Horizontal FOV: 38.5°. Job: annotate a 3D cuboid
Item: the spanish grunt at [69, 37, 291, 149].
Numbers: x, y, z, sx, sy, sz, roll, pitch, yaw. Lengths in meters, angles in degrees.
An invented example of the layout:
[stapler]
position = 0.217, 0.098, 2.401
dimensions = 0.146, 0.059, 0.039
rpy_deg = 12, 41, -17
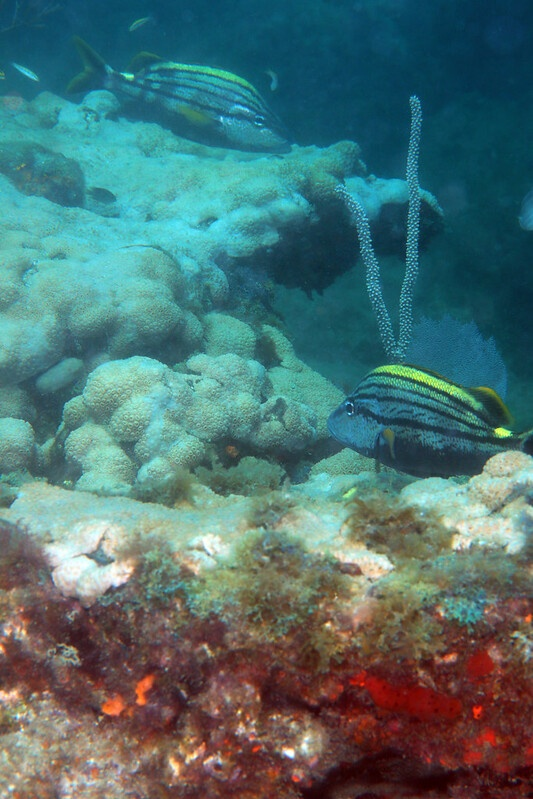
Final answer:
[spanish grunt]
position = -0.630, -2.325, 6.025
dimensions = 1.620, 0.700, 0.461
rpy_deg = 11, 22, 26
